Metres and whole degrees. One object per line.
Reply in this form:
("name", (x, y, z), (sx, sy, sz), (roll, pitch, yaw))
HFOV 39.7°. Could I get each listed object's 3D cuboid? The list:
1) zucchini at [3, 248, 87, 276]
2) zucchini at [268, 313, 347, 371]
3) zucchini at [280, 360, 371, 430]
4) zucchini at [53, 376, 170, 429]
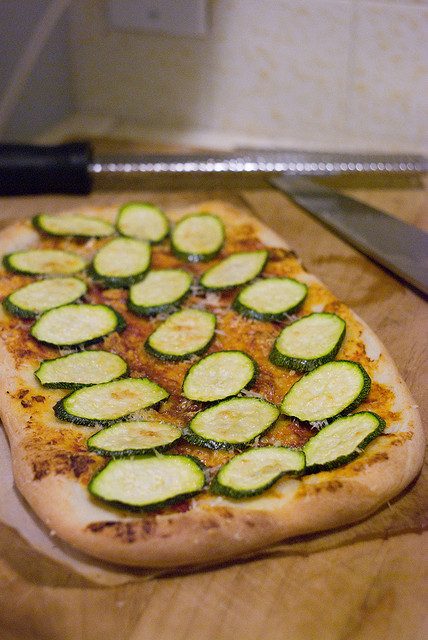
("zucchini", (-0.516, -0.176, 1.824), (0.190, 0.018, 0.103), (1, 47, -13))
("zucchini", (0.243, 0.031, 1.515), (0.138, 0.028, 0.191), (16, 43, 44))
("zucchini", (0.260, 0.162, 1.345), (0.195, 0.028, 0.132), (-37, 51, -16))
("zucchini", (-0.230, 0.176, 1.328), (0.163, 0.040, 0.216), (26, 45, 33))
